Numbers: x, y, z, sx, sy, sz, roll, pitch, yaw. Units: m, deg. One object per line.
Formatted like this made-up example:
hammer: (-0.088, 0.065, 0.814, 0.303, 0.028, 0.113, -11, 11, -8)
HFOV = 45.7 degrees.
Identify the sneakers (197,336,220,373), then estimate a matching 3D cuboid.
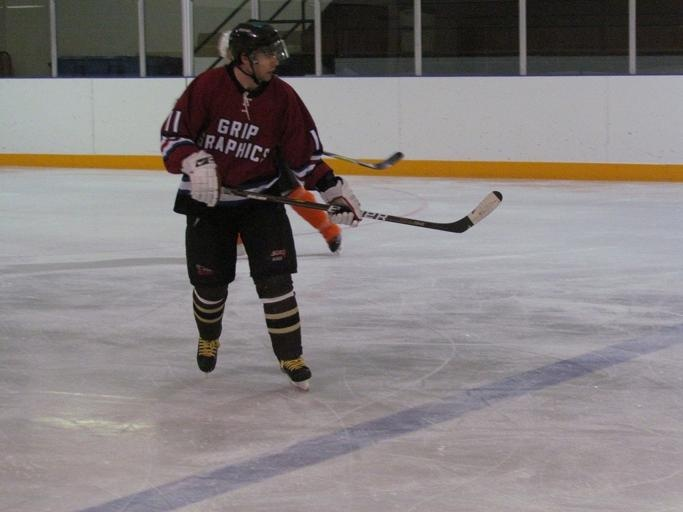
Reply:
sneakers: (-0.513, 0.384, 3.137, 0.073, 0.133, 0.070, 3, -24, -27)

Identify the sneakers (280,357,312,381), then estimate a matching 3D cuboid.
sneakers: (-0.167, 0.422, 3.018, 0.117, 0.092, 0.137, 2, 11, -2)

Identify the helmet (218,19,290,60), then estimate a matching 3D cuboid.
helmet: (-0.363, -0.794, 2.968, 0.279, 0.153, 0.164, -6, 16, 11)

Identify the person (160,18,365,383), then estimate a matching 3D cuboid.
person: (-0.307, -0.201, 3.005, 0.746, 1.340, 0.424, 3, 14, -1)

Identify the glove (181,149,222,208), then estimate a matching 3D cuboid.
glove: (-0.494, -0.275, 2.887, 0.118, 0.189, 0.131, -1, 14, -17)
